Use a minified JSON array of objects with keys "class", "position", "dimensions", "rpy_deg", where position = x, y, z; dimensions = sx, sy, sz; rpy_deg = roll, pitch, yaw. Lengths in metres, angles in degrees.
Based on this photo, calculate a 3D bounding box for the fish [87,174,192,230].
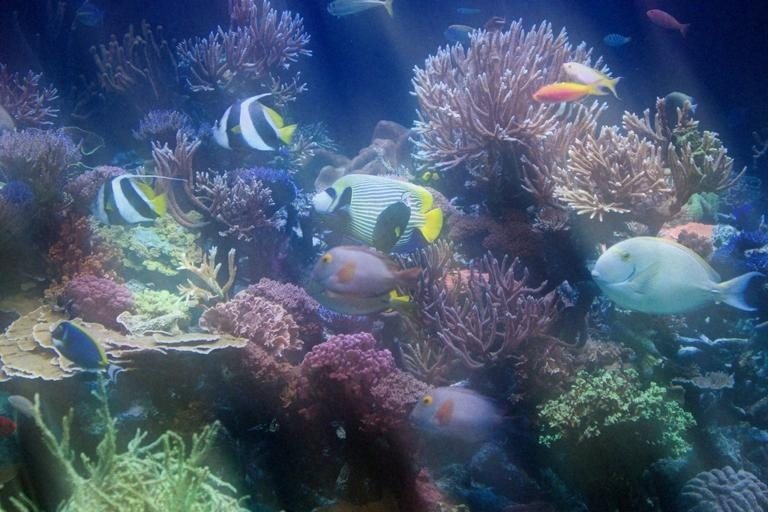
[{"class":"fish","position":[-3.680,-0.814,8.730],"dimensions":[1.007,0.702,0.299],"rpy_deg":[5,26,-14]}]
